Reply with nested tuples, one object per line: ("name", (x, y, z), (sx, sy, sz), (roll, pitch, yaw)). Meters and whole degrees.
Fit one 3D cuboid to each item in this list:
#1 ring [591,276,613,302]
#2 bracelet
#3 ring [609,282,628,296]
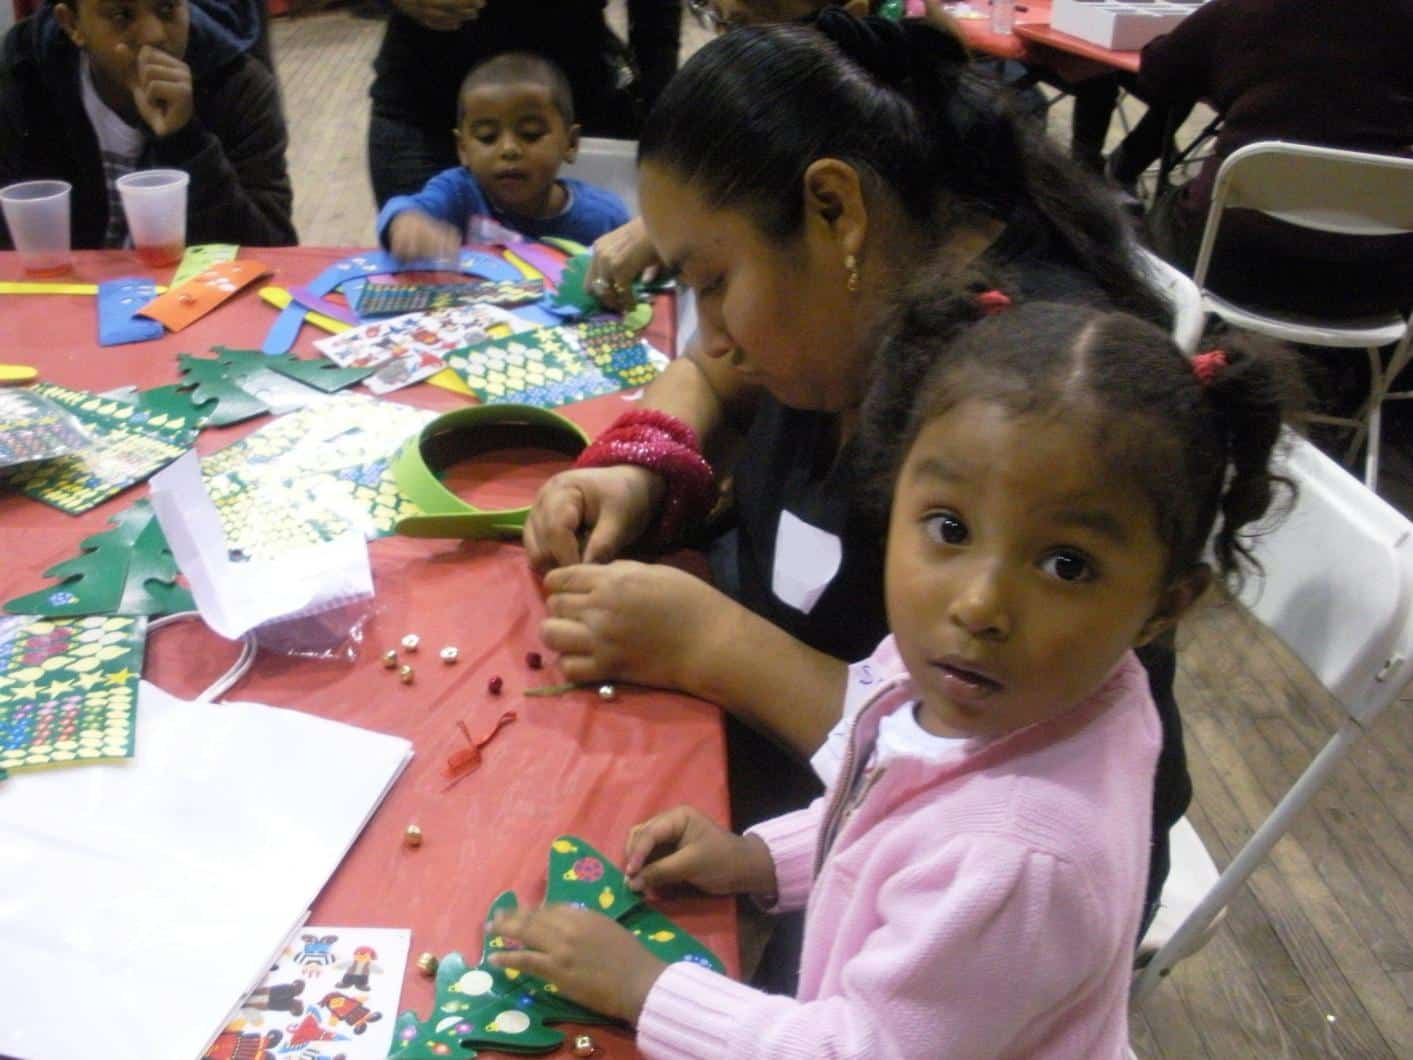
("ring", (-0.190, -0.433, 2.081), (0.031, 0.042, 0.020), (7, 54, 13))
("bracelet", (-0.087, -0.097, 1.656), (0.170, 0.097, 0.217), (-19, 44, -27))
("ring", (-0.159, -0.433, 2.075), (0.041, 0.030, 0.013), (6, 7, -2))
